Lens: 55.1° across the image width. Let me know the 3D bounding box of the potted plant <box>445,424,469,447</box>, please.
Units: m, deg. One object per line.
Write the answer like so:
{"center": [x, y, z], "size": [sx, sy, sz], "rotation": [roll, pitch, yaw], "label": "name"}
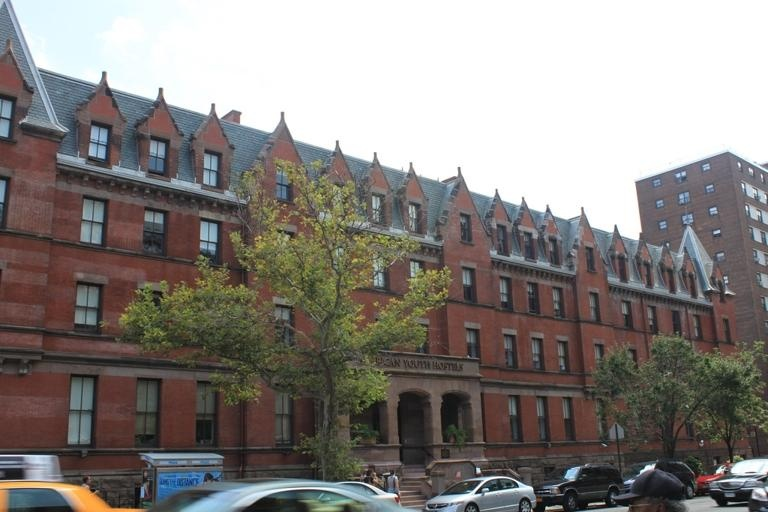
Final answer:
{"center": [4.394, 11.023, 45.175], "size": [1.168, 1.326, 1.464], "rotation": [-9, -23, 19], "label": "potted plant"}
